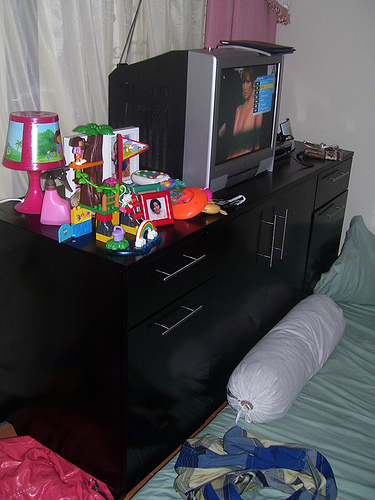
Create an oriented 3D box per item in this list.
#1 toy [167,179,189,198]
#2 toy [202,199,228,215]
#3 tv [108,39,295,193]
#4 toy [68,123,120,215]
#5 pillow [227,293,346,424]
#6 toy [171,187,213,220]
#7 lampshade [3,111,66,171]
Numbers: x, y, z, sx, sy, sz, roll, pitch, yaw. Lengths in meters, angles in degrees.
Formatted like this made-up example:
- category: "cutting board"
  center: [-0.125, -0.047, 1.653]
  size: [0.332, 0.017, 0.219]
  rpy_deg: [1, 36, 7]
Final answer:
- category: "toy"
  center: [-0.032, -0.175, 1.160]
  size: [0.043, 0.014, 0.052]
  rpy_deg: [26, 48, 28]
- category: "toy"
  center: [0.069, -0.121, 1.173]
  size: [0.046, 0.015, 0.046]
  rpy_deg: [3, 30, -19]
- category: "tv"
  center: [0.036, -0.503, 1.441]
  size: [0.522, 0.467, 0.451]
  rpy_deg: [-21, 38, -37]
- category: "toy"
  center: [-0.202, -0.183, 0.916]
  size: [0.116, 0.174, 0.127]
  rpy_deg: [24, 28, 36]
- category: "pillow"
  center: [0.418, 0.374, 1.669]
  size: [0.221, 0.228, 0.779]
  rpy_deg: [23, 21, 25]
- category: "toy"
  center: [0.003, -0.125, 1.134]
  size: [0.098, 0.065, 0.063]
  rpy_deg: [-2, 27, -3]
- category: "lampshade"
  center: [-0.357, -0.258, 1.000]
  size: [0.140, 0.109, 0.134]
  rpy_deg: [-13, 30, -34]
